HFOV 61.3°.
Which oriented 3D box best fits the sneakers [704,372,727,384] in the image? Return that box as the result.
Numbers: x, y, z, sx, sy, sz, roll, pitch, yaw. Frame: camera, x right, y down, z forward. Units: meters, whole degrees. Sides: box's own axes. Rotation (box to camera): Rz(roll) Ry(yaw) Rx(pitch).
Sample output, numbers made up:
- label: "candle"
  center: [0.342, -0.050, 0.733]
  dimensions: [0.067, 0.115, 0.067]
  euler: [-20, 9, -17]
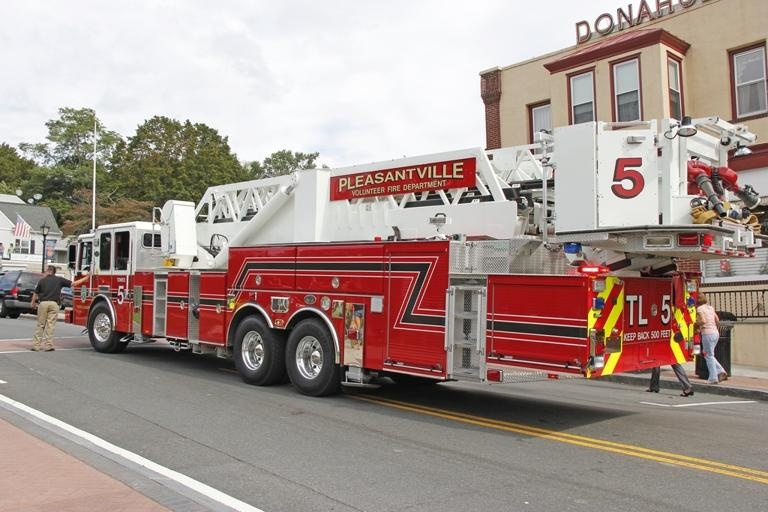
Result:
- label: "sneakers"
  center: [7.402, 2.699, 14.516]
  dimensions: [0.208, 0.259, 0.614]
  euler: [-4, -2, -14]

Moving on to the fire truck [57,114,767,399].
- label: "fire truck"
  center: [-1.301, 0.211, 14.123]
  dimensions: [15.449, 4.577, 5.336]
  euler: [-2, -7, 42]

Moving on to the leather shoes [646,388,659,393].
- label: "leather shoes"
  center: [5.569, 2.793, 13.496]
  dimensions: [0.204, 0.086, 0.075]
  euler: [3, 0, 35]
